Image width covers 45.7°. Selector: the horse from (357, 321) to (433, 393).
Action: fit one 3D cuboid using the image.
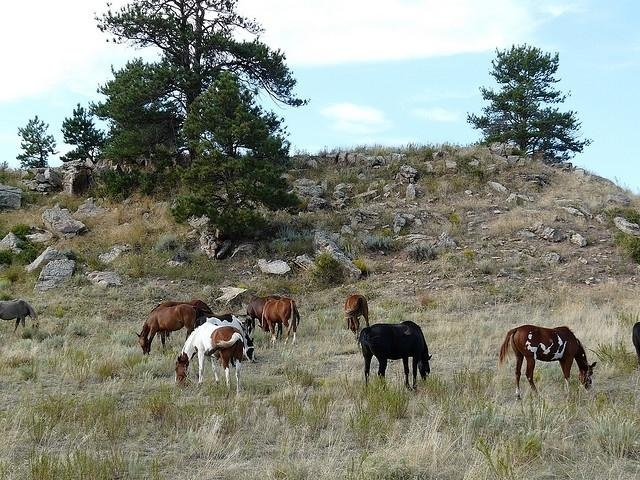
[{"bbox_3d":[2.459,3.576,23.343,2.450,2.439,1.042,-1,2,-29],"label":"horse"}]
